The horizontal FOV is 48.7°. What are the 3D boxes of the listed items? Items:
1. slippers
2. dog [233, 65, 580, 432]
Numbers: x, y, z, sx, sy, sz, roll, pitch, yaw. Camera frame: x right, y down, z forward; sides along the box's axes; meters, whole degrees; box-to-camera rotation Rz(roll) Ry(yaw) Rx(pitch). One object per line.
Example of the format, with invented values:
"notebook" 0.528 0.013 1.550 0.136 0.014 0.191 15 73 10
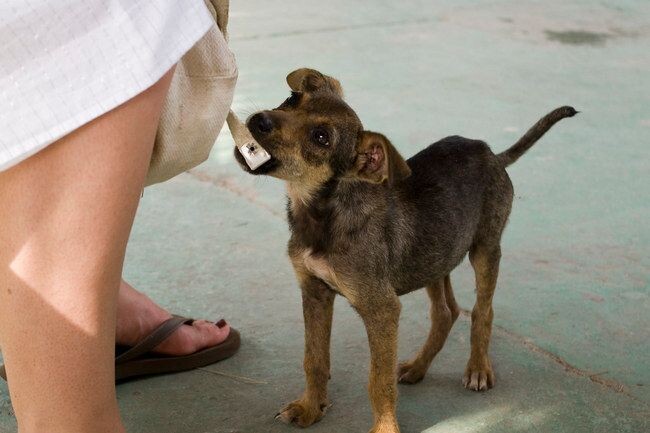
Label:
"slippers" -1.071 0.704 3.813 1.140 0.244 0.425 -6 21 -25
"dog" 0.256 0.122 3.641 1.397 1.331 1.582 11 41 10
